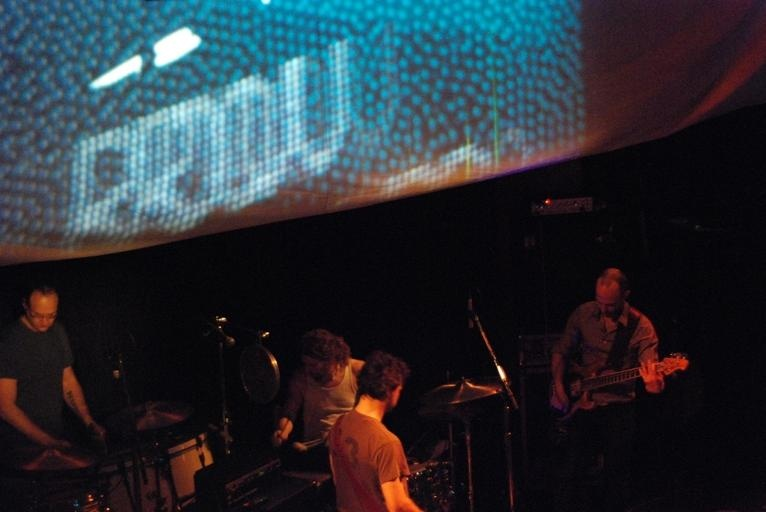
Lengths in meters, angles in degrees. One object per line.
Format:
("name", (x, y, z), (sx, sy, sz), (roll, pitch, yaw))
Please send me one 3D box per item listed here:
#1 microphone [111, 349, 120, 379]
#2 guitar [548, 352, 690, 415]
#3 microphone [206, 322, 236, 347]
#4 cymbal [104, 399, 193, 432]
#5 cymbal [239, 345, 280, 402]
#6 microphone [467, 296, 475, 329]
("microphone", (-1.301, 0.533, 3.389), (0.048, 0.142, 0.017), (-7, -11, 7))
("guitar", (1.285, 0.699, 3.850), (0.832, 0.308, 0.098), (-16, -29, 31))
("microphone", (-0.842, 0.393, 3.565), (0.134, 0.151, 0.045), (-3, -11, -14))
("cymbal", (-1.133, 0.777, 3.363), (0.201, 0.047, 0.200), (-4, 10, -28))
("cymbal", (-0.645, 0.614, 3.626), (0.200, 0.307, 0.081), (1, -13, -34))
("microphone", (0.460, 0.309, 3.766), (0.037, 0.168, 0.049), (-9, -11, 18))
